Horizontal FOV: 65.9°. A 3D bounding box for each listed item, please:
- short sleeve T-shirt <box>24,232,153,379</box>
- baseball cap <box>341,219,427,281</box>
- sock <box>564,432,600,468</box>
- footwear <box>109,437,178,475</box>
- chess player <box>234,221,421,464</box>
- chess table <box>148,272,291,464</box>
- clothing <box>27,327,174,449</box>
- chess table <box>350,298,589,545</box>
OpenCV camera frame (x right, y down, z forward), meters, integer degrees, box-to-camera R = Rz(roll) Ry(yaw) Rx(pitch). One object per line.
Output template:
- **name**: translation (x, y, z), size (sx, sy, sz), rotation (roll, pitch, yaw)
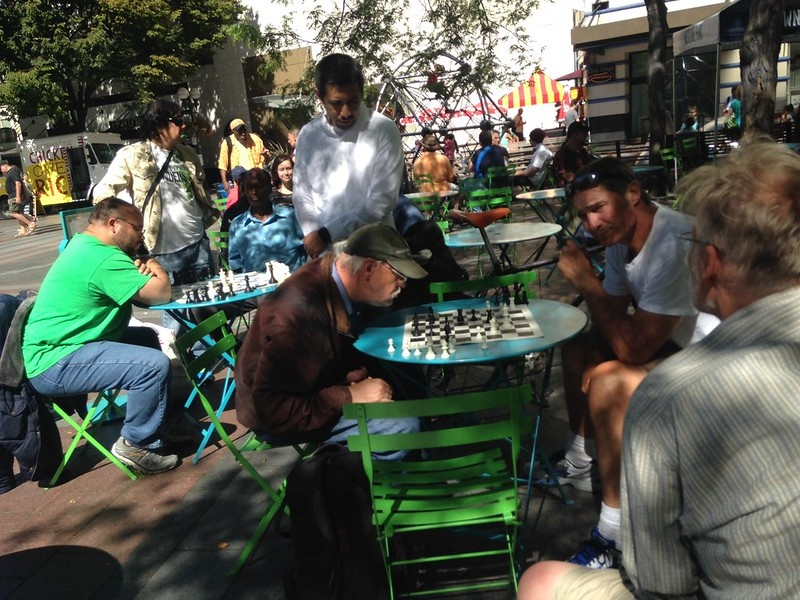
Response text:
- **short sleeve T-shirt**: translation (-2.361, -0.044, 4.554), size (0.949, 1.075, 0.832), rotation (-5, 23, -39)
- **baseball cap**: translation (-0.086, -0.259, 3.168), size (0.382, 0.198, 0.247), rotation (15, 12, -14)
- **sock**: translation (1.038, 0.854, 3.553), size (0.149, 0.156, 0.185), rotation (4, -4, 9)
- **footwear**: translation (-1.778, 1.106, 4.394), size (0.506, 0.257, 0.199), rotation (16, 37, -19)
- **chess player**: translation (-0.399, 0.146, 3.501), size (1.032, 1.242, 1.183), rotation (1, 23, -14)
- **chess table**: translation (-1.567, 0.496, 5.306), size (1.256, 1.519, 1.379), rotation (-3, 7, -18)
- **clothing**: translation (-2.175, 0.569, 4.631), size (0.994, 0.895, 0.901), rotation (3, 21, 2)
- **chess table**: translation (0.095, 0.334, 2.923), size (1.193, 0.790, 1.249), rotation (9, 51, -12)
